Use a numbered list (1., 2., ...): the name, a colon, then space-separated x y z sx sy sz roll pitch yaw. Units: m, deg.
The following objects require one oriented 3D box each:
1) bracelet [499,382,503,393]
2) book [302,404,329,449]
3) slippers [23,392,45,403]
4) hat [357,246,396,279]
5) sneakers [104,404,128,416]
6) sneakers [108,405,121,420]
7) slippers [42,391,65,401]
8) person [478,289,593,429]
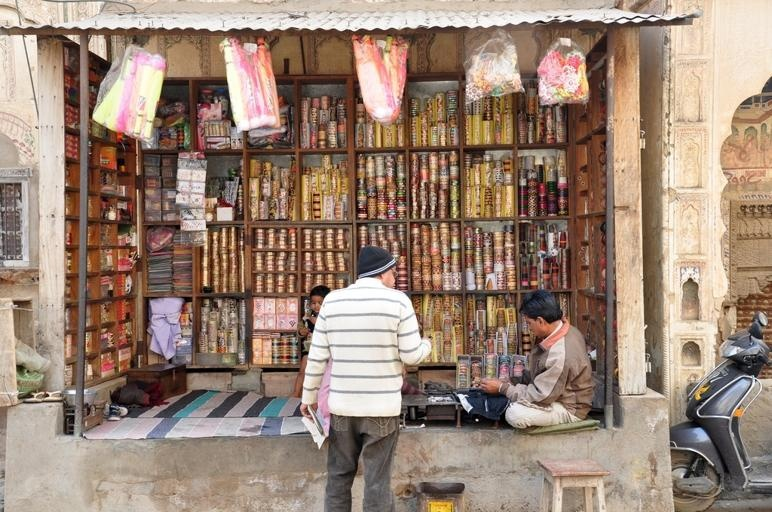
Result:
1. bracelet: 1.146 1.316 9.613 0.026 0.071 0.059 11 3 1
2. book: -0.612 1.611 9.028 0.118 0.341 0.334 -18 42 -22
3. slippers: -3.519 1.418 9.640 0.165 0.069 0.103 2 2 3
4. hat: -0.096 0.035 8.881 0.330 0.221 0.245 -13 10 -15
5. sneakers: -2.868 1.630 10.158 0.189 0.076 0.117 7 21 12
6. sneakers: -2.853 1.652 10.094 0.124 0.098 0.236 -3 2 -17
7. slippers: -3.329 1.414 9.635 0.181 0.074 0.096 -3 2 -20
8. person: 1.548 1.016 9.534 0.975 1.359 0.330 -2 2 10
